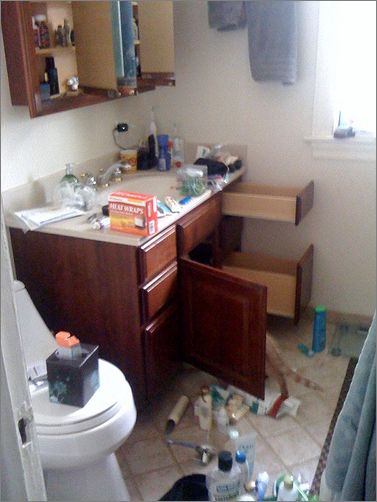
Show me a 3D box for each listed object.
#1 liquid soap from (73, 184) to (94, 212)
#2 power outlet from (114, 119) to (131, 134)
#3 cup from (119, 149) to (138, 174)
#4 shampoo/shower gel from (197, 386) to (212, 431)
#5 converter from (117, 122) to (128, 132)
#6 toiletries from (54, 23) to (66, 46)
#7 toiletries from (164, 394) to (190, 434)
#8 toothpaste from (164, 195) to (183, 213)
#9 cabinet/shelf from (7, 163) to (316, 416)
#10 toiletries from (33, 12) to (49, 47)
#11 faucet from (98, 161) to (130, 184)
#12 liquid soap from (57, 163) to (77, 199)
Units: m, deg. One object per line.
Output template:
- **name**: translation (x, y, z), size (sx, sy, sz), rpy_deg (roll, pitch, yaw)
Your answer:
- **liquid soap**: translation (-0.482, -0.243, 1.841), size (0.084, 0.114, 0.119), rpy_deg (8, 44, -13)
- **power outlet**: translation (-0.392, -0.729, 2.314), size (0.068, 0.064, 0.084), rpy_deg (0, 33, 7)
- **cup**: translation (-0.339, -0.533, 2.327), size (0.095, 0.142, 0.124), rpy_deg (4, 37, 1)
- **shampoo/shower gel**: translation (0.075, 0.711, 1.747), size (0.061, 0.192, 0.062), rpy_deg (-3, 21, 1)
- **converter**: translation (-0.391, -0.729, 2.311), size (0.031, 0.068, 0.067), rpy_deg (5, 26, 15)
- **toiletries**: translation (-0.574, -0.962, 1.763), size (0.039, 0.091, 0.050), rpy_deg (-5, 8, -27)
- **toiletries**: translation (-0.053, 0.756, 1.801), size (0.042, 0.053, 0.222), rpy_deg (14, 36, 7)
- **toothpaste**: translation (-0.066, -0.233, 1.794), size (0.045, 0.036, 0.096), rpy_deg (-25, 55, -22)
- **cabinet/shelf**: translation (-0.133, 0.099, 1.894), size (1.047, 0.973, 1.160), rpy_deg (13, 30, 25)
- **toiletries**: translation (-0.624, -0.940, 1.677), size (0.032, 0.127, 0.081), rpy_deg (2, 13, 14)
- **faucet**: translation (-0.417, -0.441, 2.226), size (0.066, 0.099, 0.247), rpy_deg (11, 32, 14)
- **liquid soap**: translation (-0.561, -0.313, 1.856), size (0.064, 0.212, 0.067), rpy_deg (-15, -15, 35)
